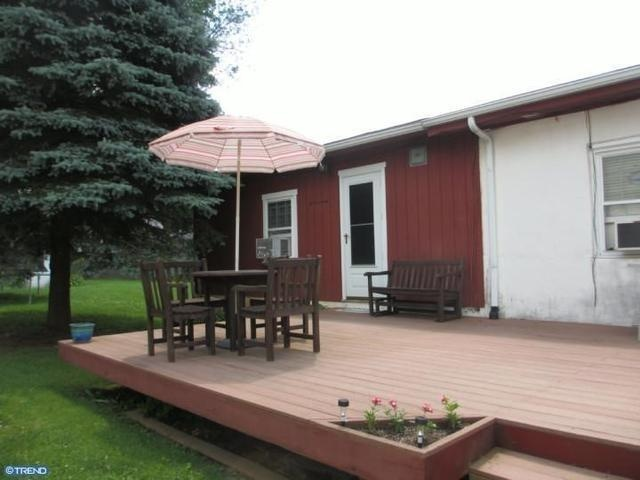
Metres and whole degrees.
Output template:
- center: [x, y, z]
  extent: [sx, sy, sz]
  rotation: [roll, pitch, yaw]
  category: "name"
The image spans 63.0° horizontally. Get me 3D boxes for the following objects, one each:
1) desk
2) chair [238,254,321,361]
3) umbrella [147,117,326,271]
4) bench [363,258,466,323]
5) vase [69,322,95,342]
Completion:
- center: [-1.121, 0.882, 6.613]
  extent: [0.993, 0.818, 0.852]
  rotation: [1, -3, 32]
  category: "desk"
- center: [-0.487, 0.812, 6.169]
  extent: [0.807, 1.084, 0.940]
  rotation: [-6, -5, 37]
  category: "chair"
- center: [-0.956, -0.573, 6.822]
  extent: [1.969, 1.863, 1.941]
  rotation: [-4, 0, 11]
  category: "umbrella"
- center: [1.530, 0.840, 8.546]
  extent: [0.746, 0.890, 1.571]
  rotation: [-1, -2, -41]
  category: "bench"
- center: [-3.341, 1.307, 7.380]
  extent: [0.382, 0.264, 0.380]
  rotation: [0, -8, 2]
  category: "vase"
